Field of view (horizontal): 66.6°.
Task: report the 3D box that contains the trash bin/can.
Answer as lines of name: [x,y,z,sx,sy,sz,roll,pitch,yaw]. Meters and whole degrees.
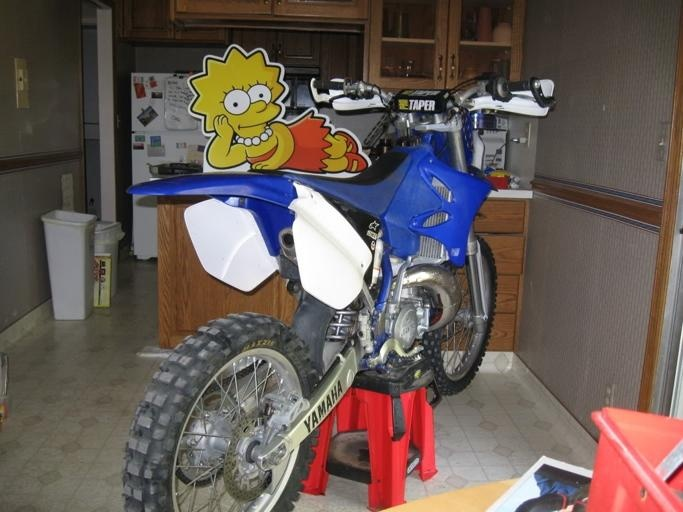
trash bin/can: [-2.071,0.038,4.118,0.383,0.788,0.573,0,12,-2]
